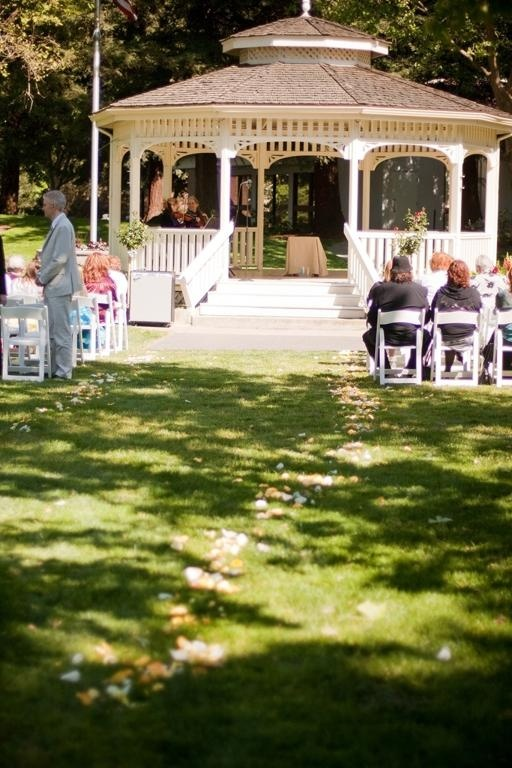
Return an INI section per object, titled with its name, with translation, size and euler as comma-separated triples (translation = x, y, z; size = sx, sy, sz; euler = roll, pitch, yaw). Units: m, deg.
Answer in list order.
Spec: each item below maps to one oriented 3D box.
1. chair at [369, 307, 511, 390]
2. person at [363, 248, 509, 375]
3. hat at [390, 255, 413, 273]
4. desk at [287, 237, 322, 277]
[chair]
translation = 1.949, -0.366, 10.551
size = 1.228, 0.714, 0.851
euler = 0, 11, 7
[person]
translation = 1.862, -0.872, 10.634
size = 1.373, 1.690, 1.078
euler = 0, 7, 2
[hat]
translation = 1.500, -1.241, 10.346
size = 0.216, 0.173, 0.364
euler = 3, 9, 8
[desk]
translation = 1.018, -2.575, 20.604
size = 0.706, 0.863, 0.863
euler = 0, 10, 4
